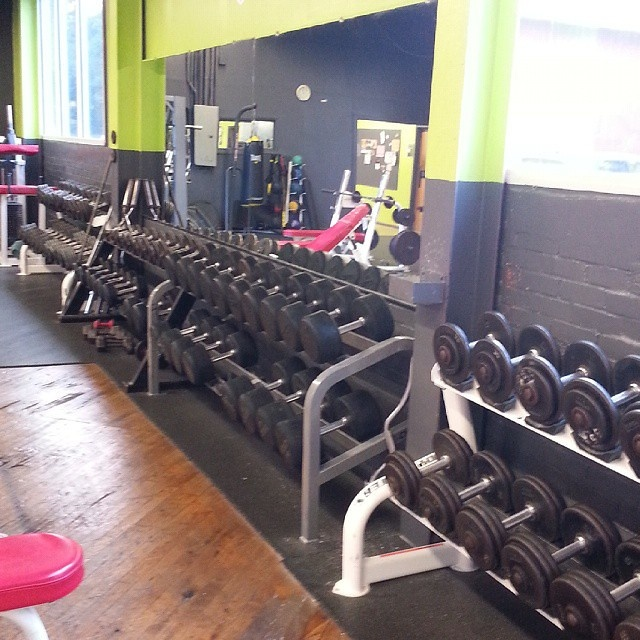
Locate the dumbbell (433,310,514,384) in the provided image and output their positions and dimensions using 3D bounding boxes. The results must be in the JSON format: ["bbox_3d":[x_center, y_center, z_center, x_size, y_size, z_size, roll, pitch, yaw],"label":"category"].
[{"bbox_3d":[0.436,0.066,1.463,0.256,0.154,0.113,-18,11,-32],"label":"dumbbell"}]

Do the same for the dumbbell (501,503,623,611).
[{"bbox_3d":[0.547,0.542,1.251,0.285,0.151,0.134,-9,23,-29],"label":"dumbbell"}]

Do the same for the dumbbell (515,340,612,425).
[{"bbox_3d":[0.525,0.136,1.201,0.187,0.082,0.179,-19,13,-34],"label":"dumbbell"}]

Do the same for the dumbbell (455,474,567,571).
[{"bbox_3d":[0.495,0.482,1.408,0.284,0.188,0.169,-20,28,-31],"label":"dumbbell"}]

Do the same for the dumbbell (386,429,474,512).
[{"bbox_3d":[0.321,0.451,1.630,0.262,0.211,0.189,-13,65,-30],"label":"dumbbell"}]

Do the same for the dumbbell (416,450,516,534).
[{"bbox_3d":[0.378,0.454,1.458,0.212,0.127,0.214,-13,1,-37],"label":"dumbbell"}]
